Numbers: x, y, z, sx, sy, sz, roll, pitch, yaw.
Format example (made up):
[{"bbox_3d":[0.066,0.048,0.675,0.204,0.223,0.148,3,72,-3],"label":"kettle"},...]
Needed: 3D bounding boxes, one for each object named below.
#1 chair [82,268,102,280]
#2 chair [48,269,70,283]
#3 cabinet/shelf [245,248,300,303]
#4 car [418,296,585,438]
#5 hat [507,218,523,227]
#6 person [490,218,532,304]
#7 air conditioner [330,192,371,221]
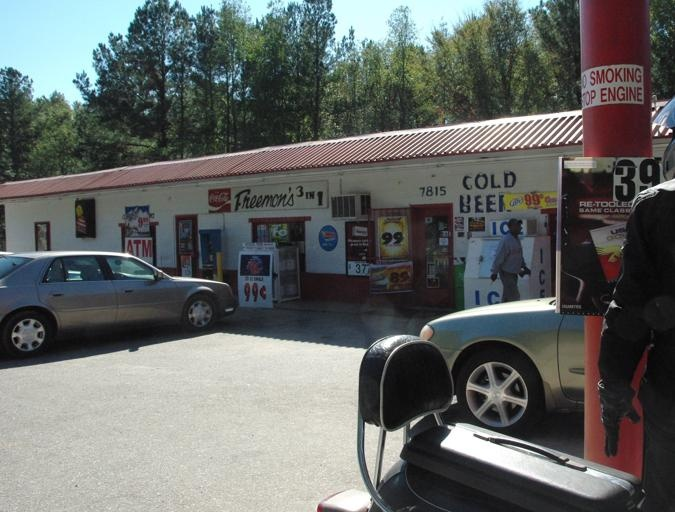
[{"bbox_3d":[-4.124,0.349,10.371,0.177,0.235,0.245,5,-12,-32],"label":"chair"},{"bbox_3d":[-4.520,0.326,9.947,0.308,0.178,0.164,-4,5,-37],"label":"chair"},{"bbox_3d":[-1.876,0.446,15.987,1.097,1.849,1.337,-1,-1,30],"label":"cabinet/shelf"},{"bbox_3d":[1.639,1.064,6.222,1.735,0.908,0.969,-2,-1,25],"label":"car"},{"bbox_3d":[3.182,-0.596,11.049,0.257,0.146,0.213,-4,-1,3],"label":"hat"},{"bbox_3d":[3.024,0.087,10.855,0.505,1.468,0.868,1,4,33],"label":"person"},{"bbox_3d":[0.347,-1.205,15.044,0.939,0.602,0.665,1,2,37],"label":"air conditioner"}]
